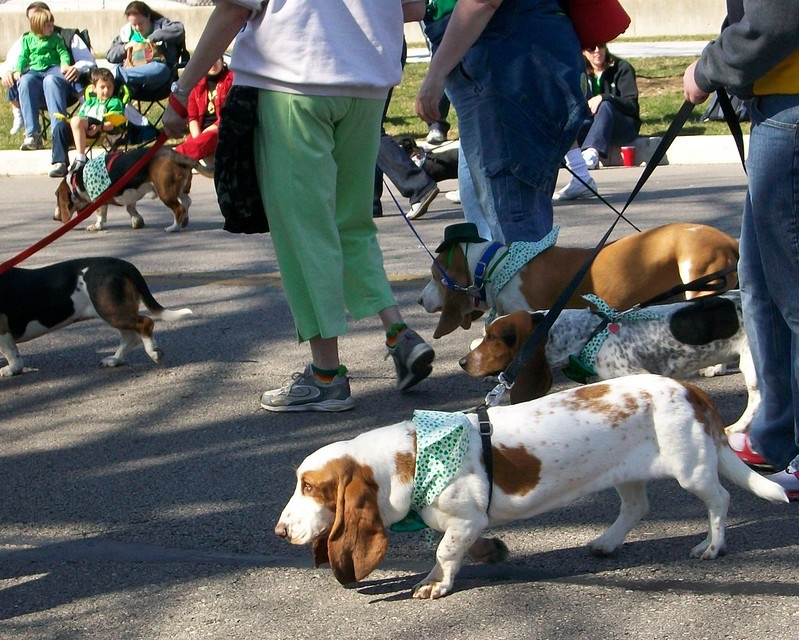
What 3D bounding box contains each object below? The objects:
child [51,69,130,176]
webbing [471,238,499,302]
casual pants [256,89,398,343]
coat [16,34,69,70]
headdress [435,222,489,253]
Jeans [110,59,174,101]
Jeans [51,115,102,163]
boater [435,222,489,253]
[{"bbox_3d":[-3.666,-2.323,12.229,1.005,1.257,0.938,6,7,25],"label":"child"},{"bbox_3d":[0.404,-0.247,4.986,0.112,0.226,0.171,22,4,14],"label":"webbing"},{"bbox_3d":[-0.350,-0.579,4.672,0.418,1.202,0.582,1,7,44],"label":"casual pants"},{"bbox_3d":[-4.894,-3.703,14.387,0.709,0.530,0.387,-2,1,-2],"label":"coat"},{"bbox_3d":[0.276,-0.395,5.183,0.173,0.071,0.195,-6,-13,-30],"label":"headdress"},{"bbox_3d":[-3.232,-3.100,13.281,0.776,0.330,0.746,-3,-21,-6],"label":"Jeans"},{"bbox_3d":[-3.945,-2.218,12.839,0.634,0.552,0.637,-4,30,-1],"label":"Jeans"},{"bbox_3d":[0.279,-0.410,5.184,0.173,0.071,0.195,-6,-13,-30],"label":"boater"}]
